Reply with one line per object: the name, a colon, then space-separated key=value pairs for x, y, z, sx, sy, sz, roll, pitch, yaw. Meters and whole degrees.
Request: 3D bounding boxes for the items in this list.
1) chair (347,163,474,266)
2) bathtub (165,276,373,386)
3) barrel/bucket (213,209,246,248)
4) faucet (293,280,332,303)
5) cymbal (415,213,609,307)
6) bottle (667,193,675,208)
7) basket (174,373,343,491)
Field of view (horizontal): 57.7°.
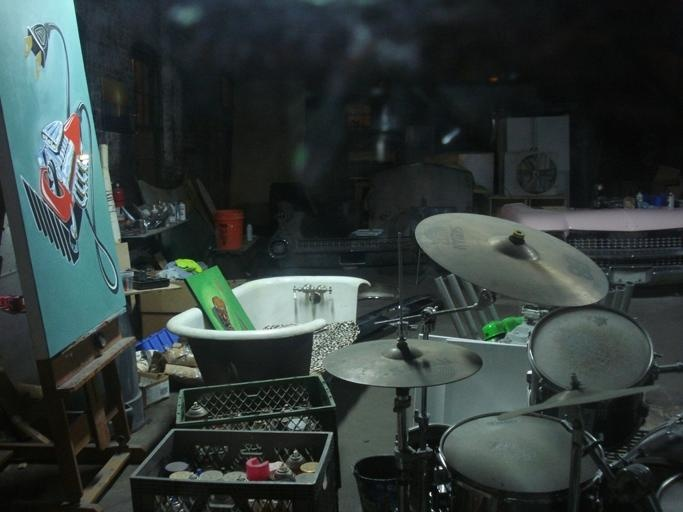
chair: x=0.729 y=-0.448 z=6.541 sx=1.526 sy=1.351 sz=0.803 roll=-1 pitch=3 yaw=9
bathtub: x=-0.357 y=0.502 z=4.261 sx=0.962 sy=0.402 sz=1.635 roll=-7 pitch=7 yaw=18
barrel/bucket: x=-1.349 y=-0.317 z=7.492 sx=0.341 sy=0.476 sz=0.360 roll=-3 pitch=12 yaw=1
faucet: x=-0.220 y=0.276 z=4.674 sx=0.245 sy=0.092 sz=0.159 roll=1 pitch=8 yaw=1
cymbal: x=0.744 y=-0.025 z=2.704 sx=0.770 sy=0.165 sz=0.778 roll=21 pitch=-7 yaw=17
bottle: x=3.482 y=-0.573 z=6.487 sx=0.074 sy=0.150 sz=0.523 roll=3 pitch=12 yaw=28
basket: x=-0.426 y=0.760 z=3.228 sx=1.036 sy=0.668 sz=0.552 roll=-2 pitch=-1 yaw=-2
